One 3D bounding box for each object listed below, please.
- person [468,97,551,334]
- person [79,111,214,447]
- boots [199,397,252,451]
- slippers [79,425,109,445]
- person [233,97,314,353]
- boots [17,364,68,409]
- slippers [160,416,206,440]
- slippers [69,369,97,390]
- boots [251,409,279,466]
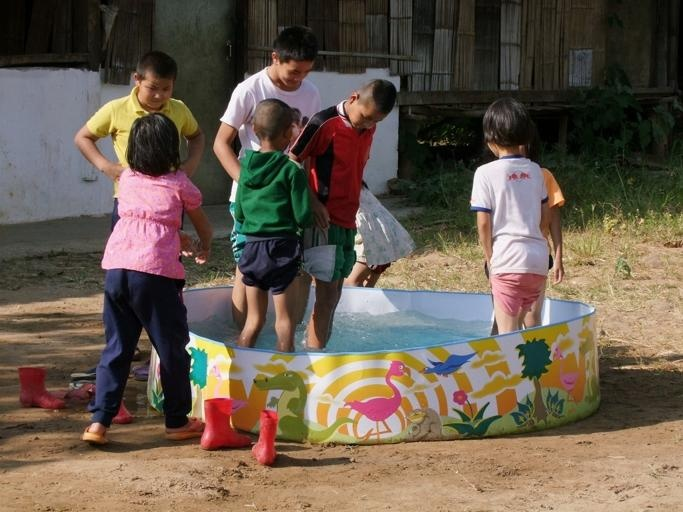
[{"bbox_3d":[1.227,-0.286,7.666,0.507,1.730,0.707,4,4,37],"label":"person"},{"bbox_3d":[-1.332,0.142,7.127,0.759,2.177,0.326,0,4,-15],"label":"person"},{"bbox_3d":[-0.779,1.129,7.102,0.386,0.333,0.156,2,-2,-38],"label":"boots"},{"bbox_3d":[-1.664,1.186,7.036,0.172,0.133,0.187,0,3,-14],"label":"slippers"},{"bbox_3d":[-0.508,-0.219,7.624,0.566,1.804,0.307,1,4,2],"label":"person"},{"bbox_3d":[-2.097,0.946,7.484,0.464,0.396,0.178,1,0,-2],"label":"boots"},{"bbox_3d":[-1.092,1.151,7.175,0.284,0.124,0.114,-3,6,-33],"label":"slippers"},{"bbox_3d":[-1.876,0.922,7.892,0.314,0.157,0.118,1,0,4],"label":"slippers"},{"bbox_3d":[-0.519,1.180,6.980,0.165,0.345,0.279,1,3,-5],"label":"boots"}]
